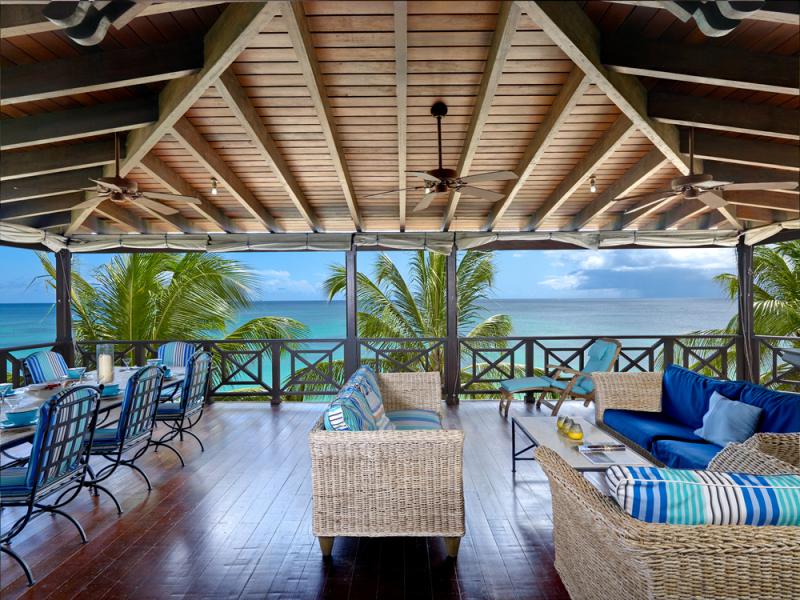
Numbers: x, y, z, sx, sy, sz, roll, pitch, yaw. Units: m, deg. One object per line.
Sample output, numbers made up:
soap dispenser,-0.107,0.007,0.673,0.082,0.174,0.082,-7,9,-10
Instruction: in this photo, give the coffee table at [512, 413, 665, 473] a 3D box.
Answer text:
coffee table,1.483,1.103,4.251,0.339,0.202,0.872,0,0,4

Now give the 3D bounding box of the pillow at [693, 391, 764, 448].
pillow,2.519,0.939,4.233,0.289,0.319,0.402,-1,4,-9

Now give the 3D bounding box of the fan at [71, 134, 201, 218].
fan,-2.522,-1.181,5.266,0.970,0.687,1.369,-3,5,-32
